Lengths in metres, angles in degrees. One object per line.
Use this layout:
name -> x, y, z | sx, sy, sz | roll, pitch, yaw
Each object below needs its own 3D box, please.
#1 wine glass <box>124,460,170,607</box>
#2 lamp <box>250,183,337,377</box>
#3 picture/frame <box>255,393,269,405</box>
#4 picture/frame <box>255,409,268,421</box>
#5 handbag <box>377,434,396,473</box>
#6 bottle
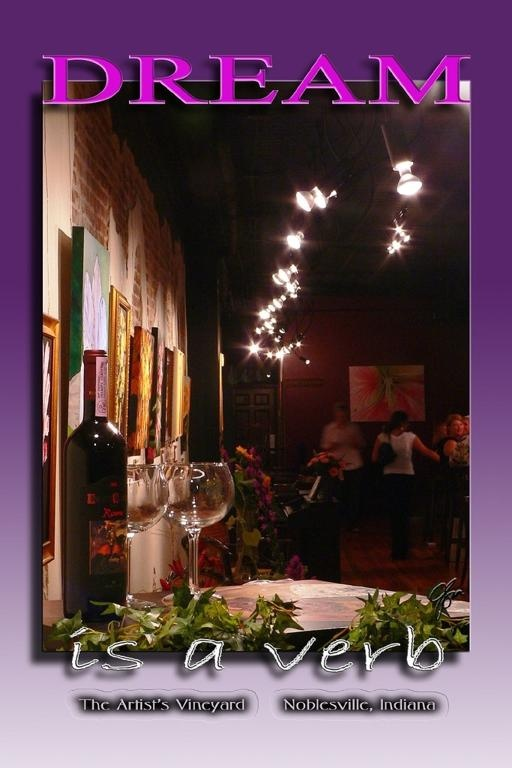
wine glass -> -0.161, 0.197, 0.967 | 0.058, 0.152, 0.132 | -1, -5, -11
lamp -> 0.084, -0.292, 1.881 | 0.105, 0.109, 0.718 | -31, -28, -28
picture/frame -> 0.012, 0.050, 2.039 | 0.029, 0.042, 0.056 | 3, -4, 6
picture/frame -> 0.015, 0.100, 2.086 | 0.047, 0.007, 0.066 | 6, 41, 3
handbag -> 0.406, 0.220, 2.050 | 0.062, 0.100, 0.087 | 4, -11, 9
bottle -> -0.214, 0.137, 0.871 | 0.080, 0.354, 0.092 | 0, -5, -14
